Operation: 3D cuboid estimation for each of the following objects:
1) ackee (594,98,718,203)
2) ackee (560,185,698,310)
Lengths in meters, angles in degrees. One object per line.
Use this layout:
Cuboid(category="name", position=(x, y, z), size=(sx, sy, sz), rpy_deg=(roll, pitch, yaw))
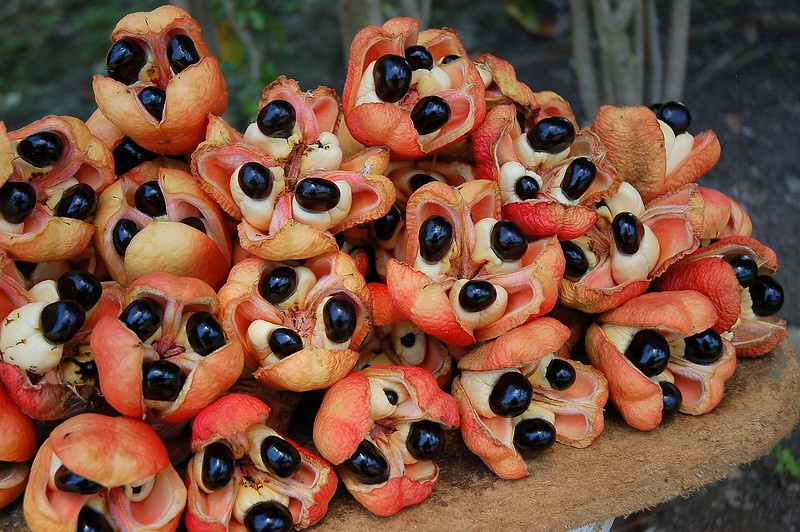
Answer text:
Cuboid(category="ackee", position=(0.675, -0.340, 2.034), size=(0.290, 0.261, 0.191), rpy_deg=(-4, 47, 7))
Cuboid(category="ackee", position=(0.594, -0.064, 1.902), size=(0.328, 0.178, 0.257), rpy_deg=(-11, 67, 18))
